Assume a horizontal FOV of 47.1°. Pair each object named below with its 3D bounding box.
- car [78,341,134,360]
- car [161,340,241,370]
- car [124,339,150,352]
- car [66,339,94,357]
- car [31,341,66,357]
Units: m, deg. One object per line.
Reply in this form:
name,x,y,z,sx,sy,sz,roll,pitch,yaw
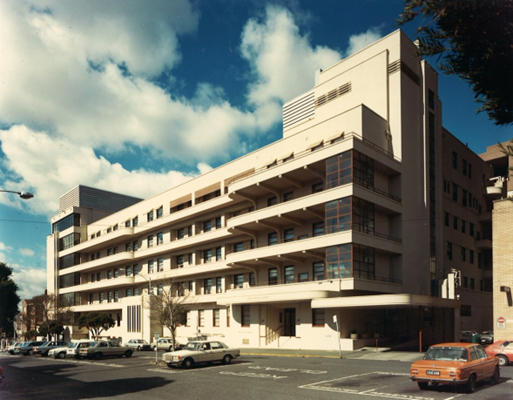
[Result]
car,-14.279,14.216,55.636,4.590,1.782,1.493,13,-25,-30
car,-4.107,11.753,44.679,4.884,1.552,2.230,12,-19,-39
car,-13.775,16.799,67.702,1.888,1.224,3.561,10,-15,-43
car,-17.129,14.536,56.538,1.785,1.356,3.102,5,-8,-36
car,-23.057,16.983,65.887,1.960,1.276,3.660,-8,-10,43
